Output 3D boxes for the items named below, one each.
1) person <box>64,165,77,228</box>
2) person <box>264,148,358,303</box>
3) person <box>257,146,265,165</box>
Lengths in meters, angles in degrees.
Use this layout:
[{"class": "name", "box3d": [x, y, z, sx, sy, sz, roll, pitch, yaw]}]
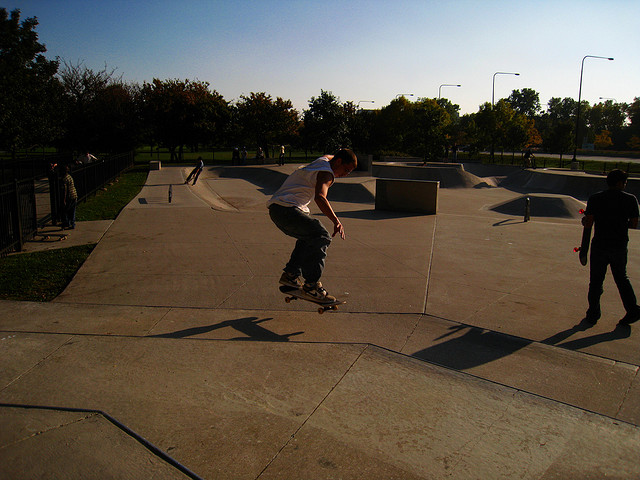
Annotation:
[{"class": "person", "box3d": [-5.783, -0.911, 10.842, 0.272, 1.119, 0.893, -7, 17, -28]}, {"class": "person", "box3d": [-0.115, -0.150, 5.427, 1.000, 1.744, 0.578, 1, 15, 0]}, {"class": "person", "box3d": [-5.048, -7.159, 40.066, 0.519, 1.276, 2.160, -1, 15, -7]}]
